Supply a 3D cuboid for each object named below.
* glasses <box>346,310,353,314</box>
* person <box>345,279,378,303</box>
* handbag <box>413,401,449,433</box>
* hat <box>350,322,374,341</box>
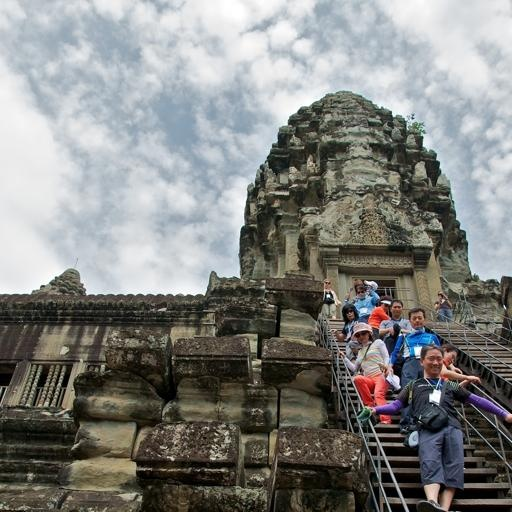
[{"bbox_3d":[1.706,0.811,6.774,0.088,0.066,0.026,-2,1,11],"label":"glasses"},{"bbox_3d":[2.459,0.645,8.787,0.636,0.644,0.290,-1,-29,8],"label":"person"},{"bbox_3d":[1.659,1.276,3.532,0.284,0.234,0.155,-3,-62,18],"label":"handbag"},{"bbox_3d":[1.556,0.875,5.481,0.250,0.128,0.259,-6,-34,3],"label":"hat"}]
